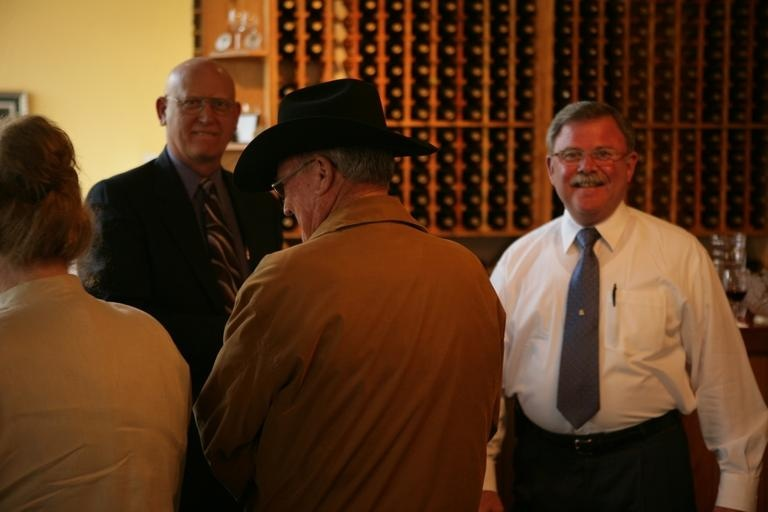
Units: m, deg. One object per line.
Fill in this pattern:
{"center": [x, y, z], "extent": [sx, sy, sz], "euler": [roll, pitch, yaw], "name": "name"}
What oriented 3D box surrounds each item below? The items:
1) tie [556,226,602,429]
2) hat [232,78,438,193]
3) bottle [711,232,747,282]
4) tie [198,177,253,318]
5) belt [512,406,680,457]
{"center": [0.814, 0.281, 3.239], "extent": [0.160, 0.779, 0.264], "euler": [1, 5, 15], "name": "tie"}
{"center": [-0.145, -0.481, 2.965], "extent": [0.727, 0.333, 0.638], "euler": [-11, -6, 25], "name": "hat"}
{"center": [1.779, 0.009, 4.047], "extent": [0.211, 0.308, 0.242], "euler": [-2, -4, 40], "name": "bottle"}
{"center": [-0.674, -0.086, 3.581], "extent": [0.149, 0.810, 0.203], "euler": [-21, -19, 21], "name": "tie"}
{"center": [0.878, 0.709, 3.225], "extent": [0.660, 0.175, 0.137], "euler": [1, 5, 15], "name": "belt"}
